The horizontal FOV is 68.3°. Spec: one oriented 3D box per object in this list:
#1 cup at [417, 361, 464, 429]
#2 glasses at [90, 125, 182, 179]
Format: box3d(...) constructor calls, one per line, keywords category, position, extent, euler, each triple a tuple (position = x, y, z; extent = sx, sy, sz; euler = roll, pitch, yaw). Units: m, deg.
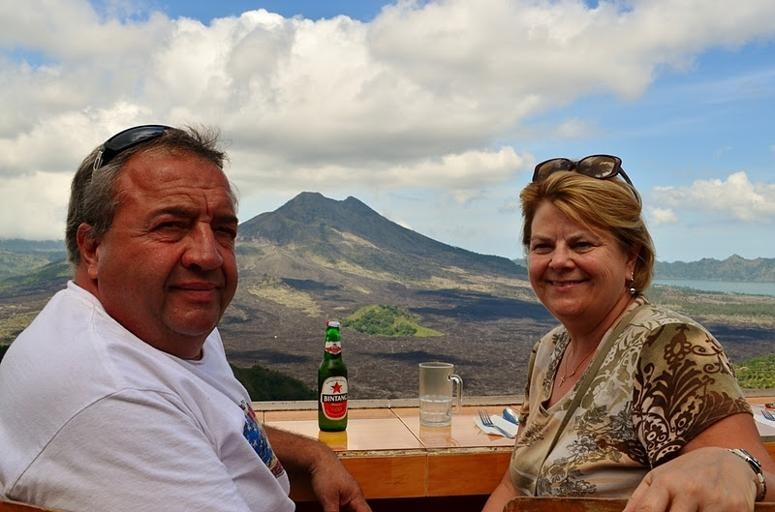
box3d(category="cup", position=(0.223, 0.585, 2.445), extent=(0.181, 0.265, 0.174), euler=(-1, 0, 0))
box3d(category="glasses", position=(-0.644, -0.285, 1.423), extent=(0.225, 0.062, 0.213), euler=(-22, -24, -38))
